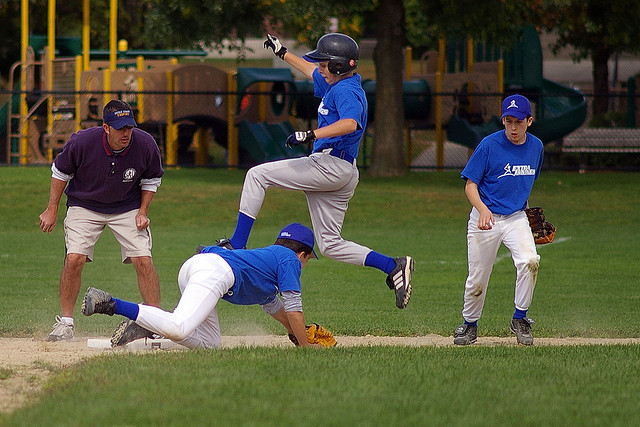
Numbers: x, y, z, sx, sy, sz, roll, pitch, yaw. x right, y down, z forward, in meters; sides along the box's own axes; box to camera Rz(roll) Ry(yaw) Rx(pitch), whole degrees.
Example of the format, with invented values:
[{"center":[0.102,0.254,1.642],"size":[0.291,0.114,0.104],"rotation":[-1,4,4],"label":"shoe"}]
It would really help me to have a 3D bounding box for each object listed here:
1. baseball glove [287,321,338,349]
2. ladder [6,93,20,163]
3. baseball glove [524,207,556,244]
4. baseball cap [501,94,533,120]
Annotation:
[{"center":[-0.115,2.265,23.785],"size":[0.715,0.335,0.423],"rotation":[24,28,-25],"label":"baseball glove"},{"center":[-9.089,-2.479,39.220],"size":[0.348,2.022,1.668],"rotation":[0,5,-13],"label":"ladder"},{"center":[3.922,0.226,24.098],"size":[0.295,0.673,0.490],"rotation":[-33,-3,4],"label":"baseball glove"},{"center":[3.491,-1.881,23.675],"size":[0.344,0.310,0.541],"rotation":[2,4,18],"label":"baseball cap"}]
